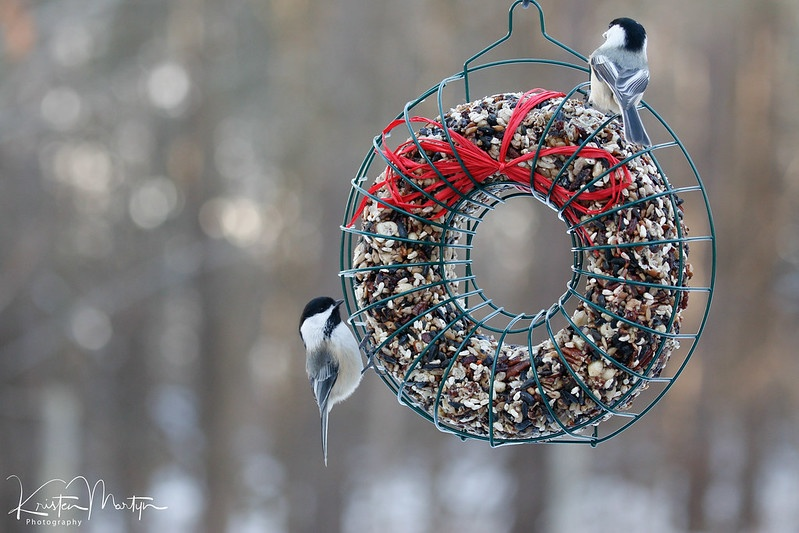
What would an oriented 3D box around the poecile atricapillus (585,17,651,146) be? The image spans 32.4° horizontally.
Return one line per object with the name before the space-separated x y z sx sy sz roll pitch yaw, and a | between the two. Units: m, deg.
poecile atricapillus | 1.222 -1.036 7.572 0.357 0.658 0.562 0 -64 1
